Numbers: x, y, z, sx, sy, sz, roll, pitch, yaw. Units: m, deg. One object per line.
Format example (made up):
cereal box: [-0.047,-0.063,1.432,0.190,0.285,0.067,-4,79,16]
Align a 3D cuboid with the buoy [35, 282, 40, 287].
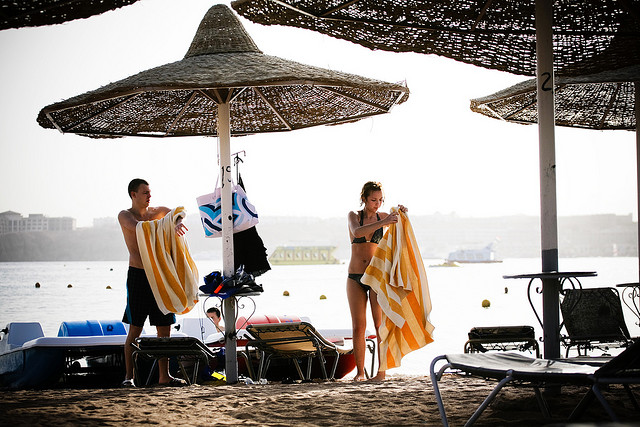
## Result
buoy: [-11.572,2.956,36.721,0.121,0.148,0.163,-1,-1,-11]

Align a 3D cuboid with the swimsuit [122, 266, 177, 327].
swimsuit: [-3.148,1.561,16.761,1.231,1.242,0.745,1,-12,-29]

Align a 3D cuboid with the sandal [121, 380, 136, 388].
sandal: [-3.549,3.160,16.628,0.217,0.125,0.269,-3,-1,-12]

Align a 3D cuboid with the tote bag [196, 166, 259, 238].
tote bag: [-1.827,-0.318,17.741,1.228,1.465,0.471,-8,-3,11]

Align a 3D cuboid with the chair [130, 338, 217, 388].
chair: [-2.681,2.617,16.820,1.212,0.534,1.165,1,-1,9]

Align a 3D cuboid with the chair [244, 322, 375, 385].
chair: [-0.479,2.653,17.009,1.225,0.817,2.412,-1,-7,19]
